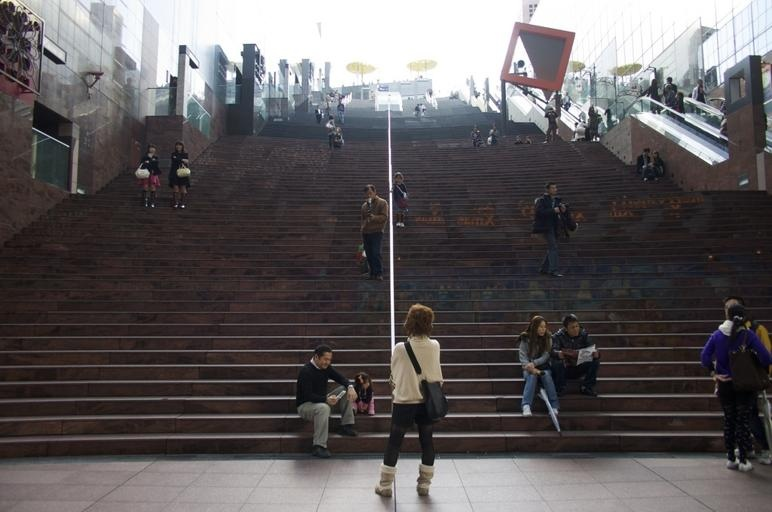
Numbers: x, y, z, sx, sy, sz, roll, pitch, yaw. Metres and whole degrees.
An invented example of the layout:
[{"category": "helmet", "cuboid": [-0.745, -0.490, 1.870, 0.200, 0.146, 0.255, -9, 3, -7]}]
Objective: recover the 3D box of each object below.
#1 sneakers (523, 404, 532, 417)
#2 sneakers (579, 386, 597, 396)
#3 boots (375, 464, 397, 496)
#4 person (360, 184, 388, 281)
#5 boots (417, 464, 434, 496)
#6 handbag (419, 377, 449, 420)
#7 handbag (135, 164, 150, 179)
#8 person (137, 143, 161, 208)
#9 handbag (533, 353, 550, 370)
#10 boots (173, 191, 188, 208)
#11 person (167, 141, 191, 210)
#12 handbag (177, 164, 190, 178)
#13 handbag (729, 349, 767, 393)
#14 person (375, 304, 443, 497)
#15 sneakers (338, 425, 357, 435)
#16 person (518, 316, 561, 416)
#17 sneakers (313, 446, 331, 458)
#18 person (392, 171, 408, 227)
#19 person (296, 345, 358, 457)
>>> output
[{"category": "sneakers", "cuboid": [2.234, 2.449, 8.817, 0.141, 0.149, 0.214, 0, 2, 13]}, {"category": "sneakers", "cuboid": [3.310, 2.215, 9.120, 0.249, 0.109, 0.117, 0, -4, 32]}, {"category": "boots", "cuboid": [0.000, 2.987, 7.441, 0.235, 0.415, 0.433, 10, -16, -17]}, {"category": "person", "cuboid": [-0.252, -0.525, 12.137, 0.516, 2.013, 1.005, 0, 1, -2]}, {"category": "boots", "cuboid": [0.490, 2.953, 7.360, 0.170, 0.333, 0.337, 17, -18, 3]}, {"category": "handbag", "cuboid": [0.571, 1.722, 7.265, 0.220, 0.513, 0.528, -2, 24, 13]}, {"category": "handbag", "cuboid": [-6.530, -2.263, 14.945, 0.317, 0.354, 0.390, -1, 2, -23]}, {"category": "person", "cuboid": [-6.465, -2.199, 15.112, 0.538, 1.741, 0.672, -1, 1, -25]}, {"category": "handbag", "cuboid": [2.512, 1.710, 9.007, 0.305, 0.156, 0.221, -6, -11, -18]}, {"category": "boots", "cuboid": [-5.675, -1.539, 15.350, 0.443, 0.523, 0.446, 2, -9, -13]}, {"category": "person", "cuboid": [-5.739, -2.251, 15.442, 0.493, 1.902, 0.994, -1, 1, -21]}, {"category": "handbag", "cuboid": [-5.514, -2.323, 15.076, 0.383, 0.373, 0.189, -2, -11, -21]}, {"category": "handbag", "cuboid": [4.963, 1.561, 7.603, 0.262, 0.516, 0.527, -12, -17, 43]}, {"category": "person", "cuboid": [0.303, 1.910, 7.349, 0.841, 2.511, 0.426, 0, 1, 1]}, {"category": "sneakers", "cuboid": [-0.601, 2.672, 8.521, 0.337, 0.144, 0.115, -13, -13, 43]}, {"category": "person", "cuboid": [2.472, 1.757, 8.978, 0.620, 1.484, 0.622, 0, 1, 13]}, {"category": "sneakers", "cuboid": [-0.962, 2.941, 8.341, 0.322, 0.140, 0.108, -8, -10, 37]}, {"category": "person", "cuboid": [0.341, -1.444, 14.644, 0.353, 1.387, 0.536, 0, 1, 2]}, {"category": "person", "cuboid": [-0.958, 2.134, 8.525, 0.952, 1.484, 1.077, 2, 1, 16]}]
